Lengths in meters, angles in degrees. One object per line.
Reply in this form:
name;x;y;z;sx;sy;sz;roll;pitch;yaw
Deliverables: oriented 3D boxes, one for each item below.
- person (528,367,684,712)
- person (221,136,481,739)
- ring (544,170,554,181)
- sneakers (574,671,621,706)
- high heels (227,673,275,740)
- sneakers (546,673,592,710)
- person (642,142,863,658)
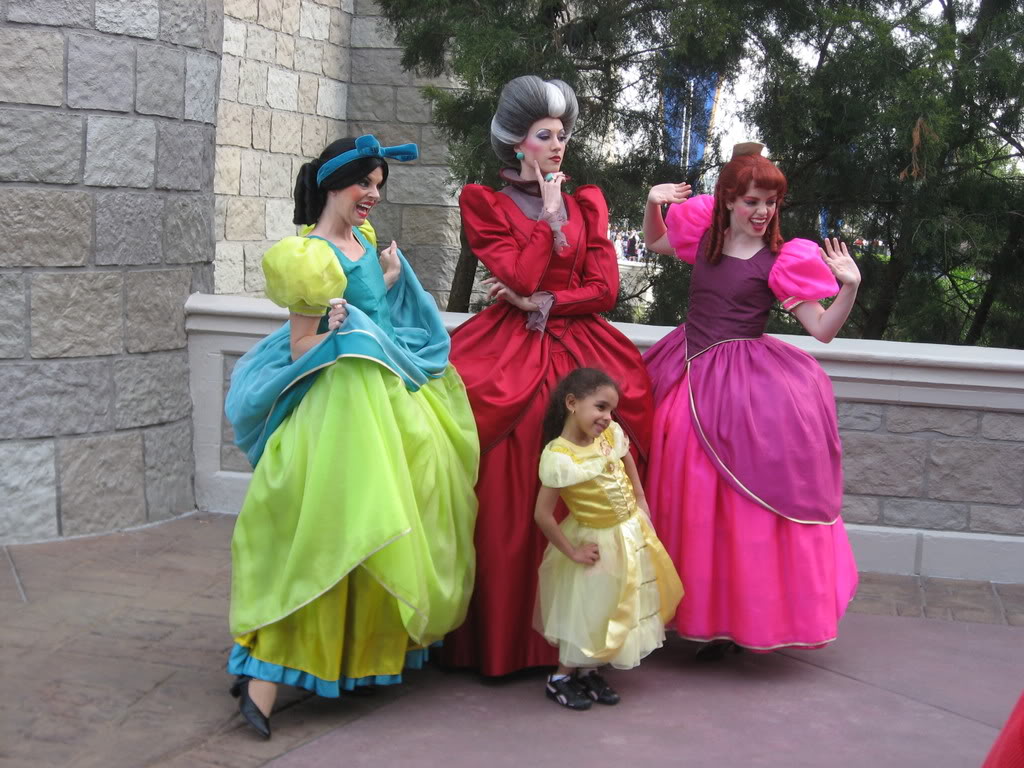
person;0.307;0.465;2.716;0.470;1.012;0.289;1;11;-4
person;-0.445;0.140;2.608;0.769;1.691;0.603;-2;11;-20
ring;0.119;-0.669;2.897;0.033;0.016;0.037;3;51;12
sneakers;0.259;0.927;2.776;0.060;0.070;0.164;-18;19;-39
high heels;-0.732;0.888;2.512;0.155;0.067;0.052;39;-8;31
sneakers;0.173;0.937;2.702;0.069;0.073;0.142;-20;23;-32
person;0.785;0.030;2.952;0.782;1.612;0.548;6;12;23
